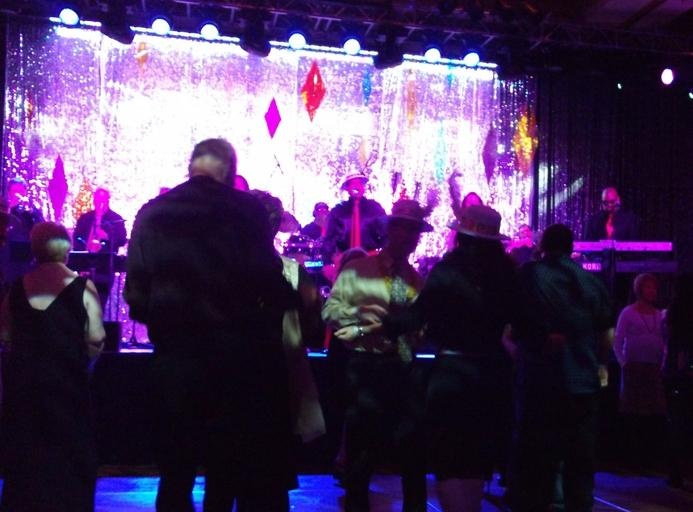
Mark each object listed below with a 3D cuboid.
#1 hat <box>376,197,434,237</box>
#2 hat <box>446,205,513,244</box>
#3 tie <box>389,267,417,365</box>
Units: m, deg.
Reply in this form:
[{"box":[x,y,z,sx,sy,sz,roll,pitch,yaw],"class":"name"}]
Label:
[{"box":[0.432,-0.274,5.065,0.279,0.227,0.351,4,4,8],"class":"hat"},{"box":[0.823,-0.218,4.697,0.235,0.107,0.264,5,9,-31],"class":"hat"},{"box":[0.373,0.415,4.911,0.173,0.570,0.160,3,4,3],"class":"tie"}]
